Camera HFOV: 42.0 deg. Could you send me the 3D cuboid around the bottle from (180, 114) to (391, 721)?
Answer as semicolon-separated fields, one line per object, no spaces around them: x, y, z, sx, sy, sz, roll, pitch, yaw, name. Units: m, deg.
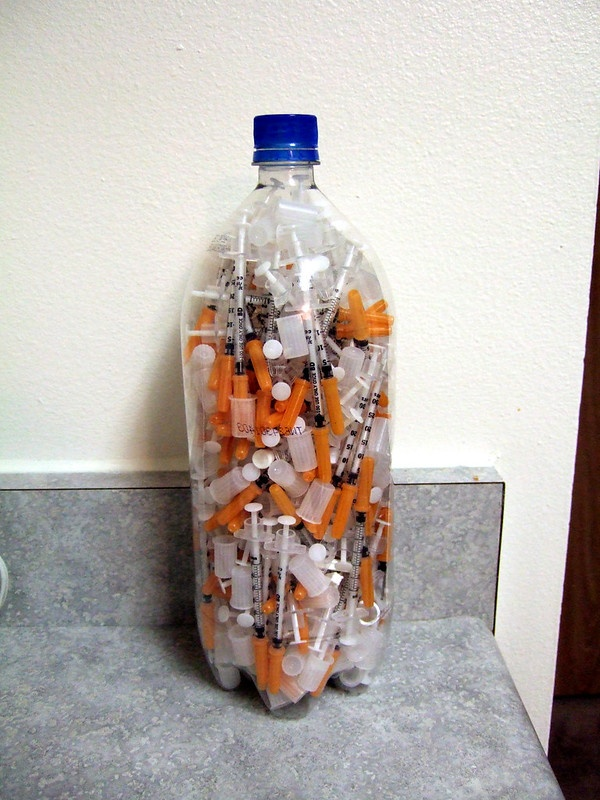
-0.004;0.026;0.894;0.268;0.665;0.188;2;12;-9;bottle
